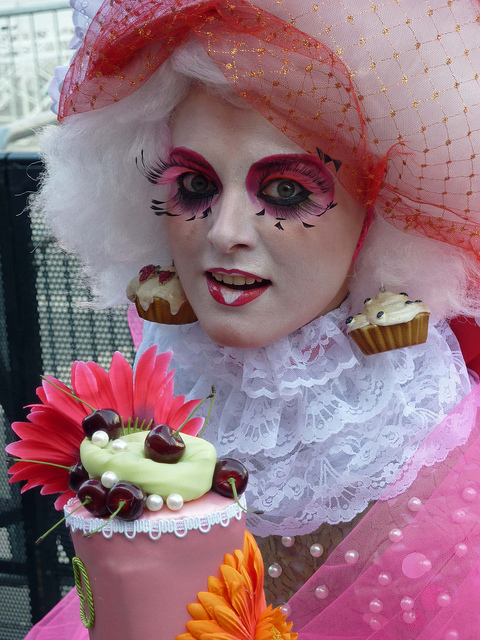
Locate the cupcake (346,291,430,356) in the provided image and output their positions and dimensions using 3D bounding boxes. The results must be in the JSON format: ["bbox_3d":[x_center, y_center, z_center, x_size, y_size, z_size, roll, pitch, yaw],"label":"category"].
[{"bbox_3d":[0.252,-0.004,1.168,0.136,0.089,0.138,-13,11,-24],"label":"cupcake"}]

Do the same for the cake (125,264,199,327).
[{"bbox_3d":[-0.154,-0.046,1.335,0.128,0.080,0.133,1,-4,8],"label":"cake"}]
